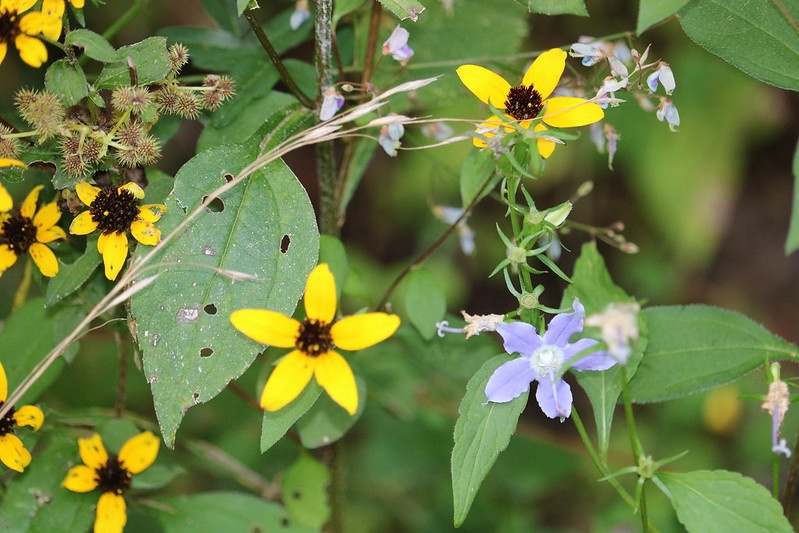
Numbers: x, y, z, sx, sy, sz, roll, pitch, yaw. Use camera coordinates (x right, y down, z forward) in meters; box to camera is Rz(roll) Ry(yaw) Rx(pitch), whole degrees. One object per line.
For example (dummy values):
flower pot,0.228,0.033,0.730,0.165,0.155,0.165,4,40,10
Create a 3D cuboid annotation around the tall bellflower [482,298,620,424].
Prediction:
tall bellflower,0.368,0.239,2.019,0.277,0.302,0.165,1,-7,-21
